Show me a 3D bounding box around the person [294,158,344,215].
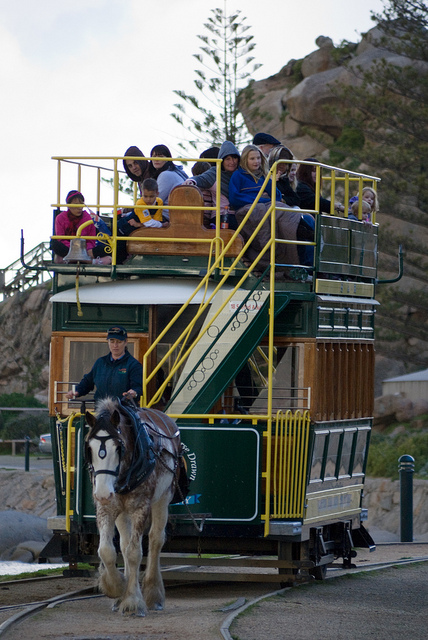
[{"bbox_3d":[1.315,-1.709,22.075,0.705,0.784,0.468,0,4,12],"label":"person"}]

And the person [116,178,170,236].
[{"bbox_3d":[-0.891,-1.200,20.836,0.426,1.058,0.592,8,18,22],"label":"person"}]

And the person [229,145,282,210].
[{"bbox_3d":[0.387,-1.763,21.024,0.482,0.798,0.460,-1,-4,-8],"label":"person"}]

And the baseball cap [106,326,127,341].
[{"bbox_3d":[-1.126,0.173,18.776,0.207,0.157,0.163,-1,-4,-9],"label":"baseball cap"}]

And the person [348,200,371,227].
[{"bbox_3d":[1.820,-1.346,21.513,0.274,0.446,0.959,-2,-5,6],"label":"person"}]

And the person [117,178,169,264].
[{"bbox_3d":[-0.931,-1.175,20.829,0.645,1.079,0.859,-1,-4,-3],"label":"person"}]

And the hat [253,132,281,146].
[{"bbox_3d":[0.639,-2.362,22.191,0.301,0.164,0.217,-5,3,-3],"label":"hat"}]

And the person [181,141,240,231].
[{"bbox_3d":[-0.050,-1.705,21.302,0.673,1.267,0.988,-1,-4,0],"label":"person"}]

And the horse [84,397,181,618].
[{"bbox_3d":[-0.933,1.972,17.640,0.562,2.279,1.655,-2,-4,18],"label":"horse"}]

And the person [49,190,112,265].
[{"bbox_3d":[-1.819,-1.165,21.368,0.696,1.037,0.780,9,-17,-39],"label":"person"}]

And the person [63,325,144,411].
[{"bbox_3d":[-1.216,0.694,18.807,0.833,1.207,0.640,1,4,15],"label":"person"}]

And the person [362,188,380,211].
[{"bbox_3d":[2.022,-1.611,22.277,0.168,0.369,0.830,-2,-5,8],"label":"person"}]

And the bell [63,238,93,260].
[{"bbox_3d":[-1.677,-0.822,20.118,0.252,0.245,0.266,0,-7,1],"label":"bell"}]
